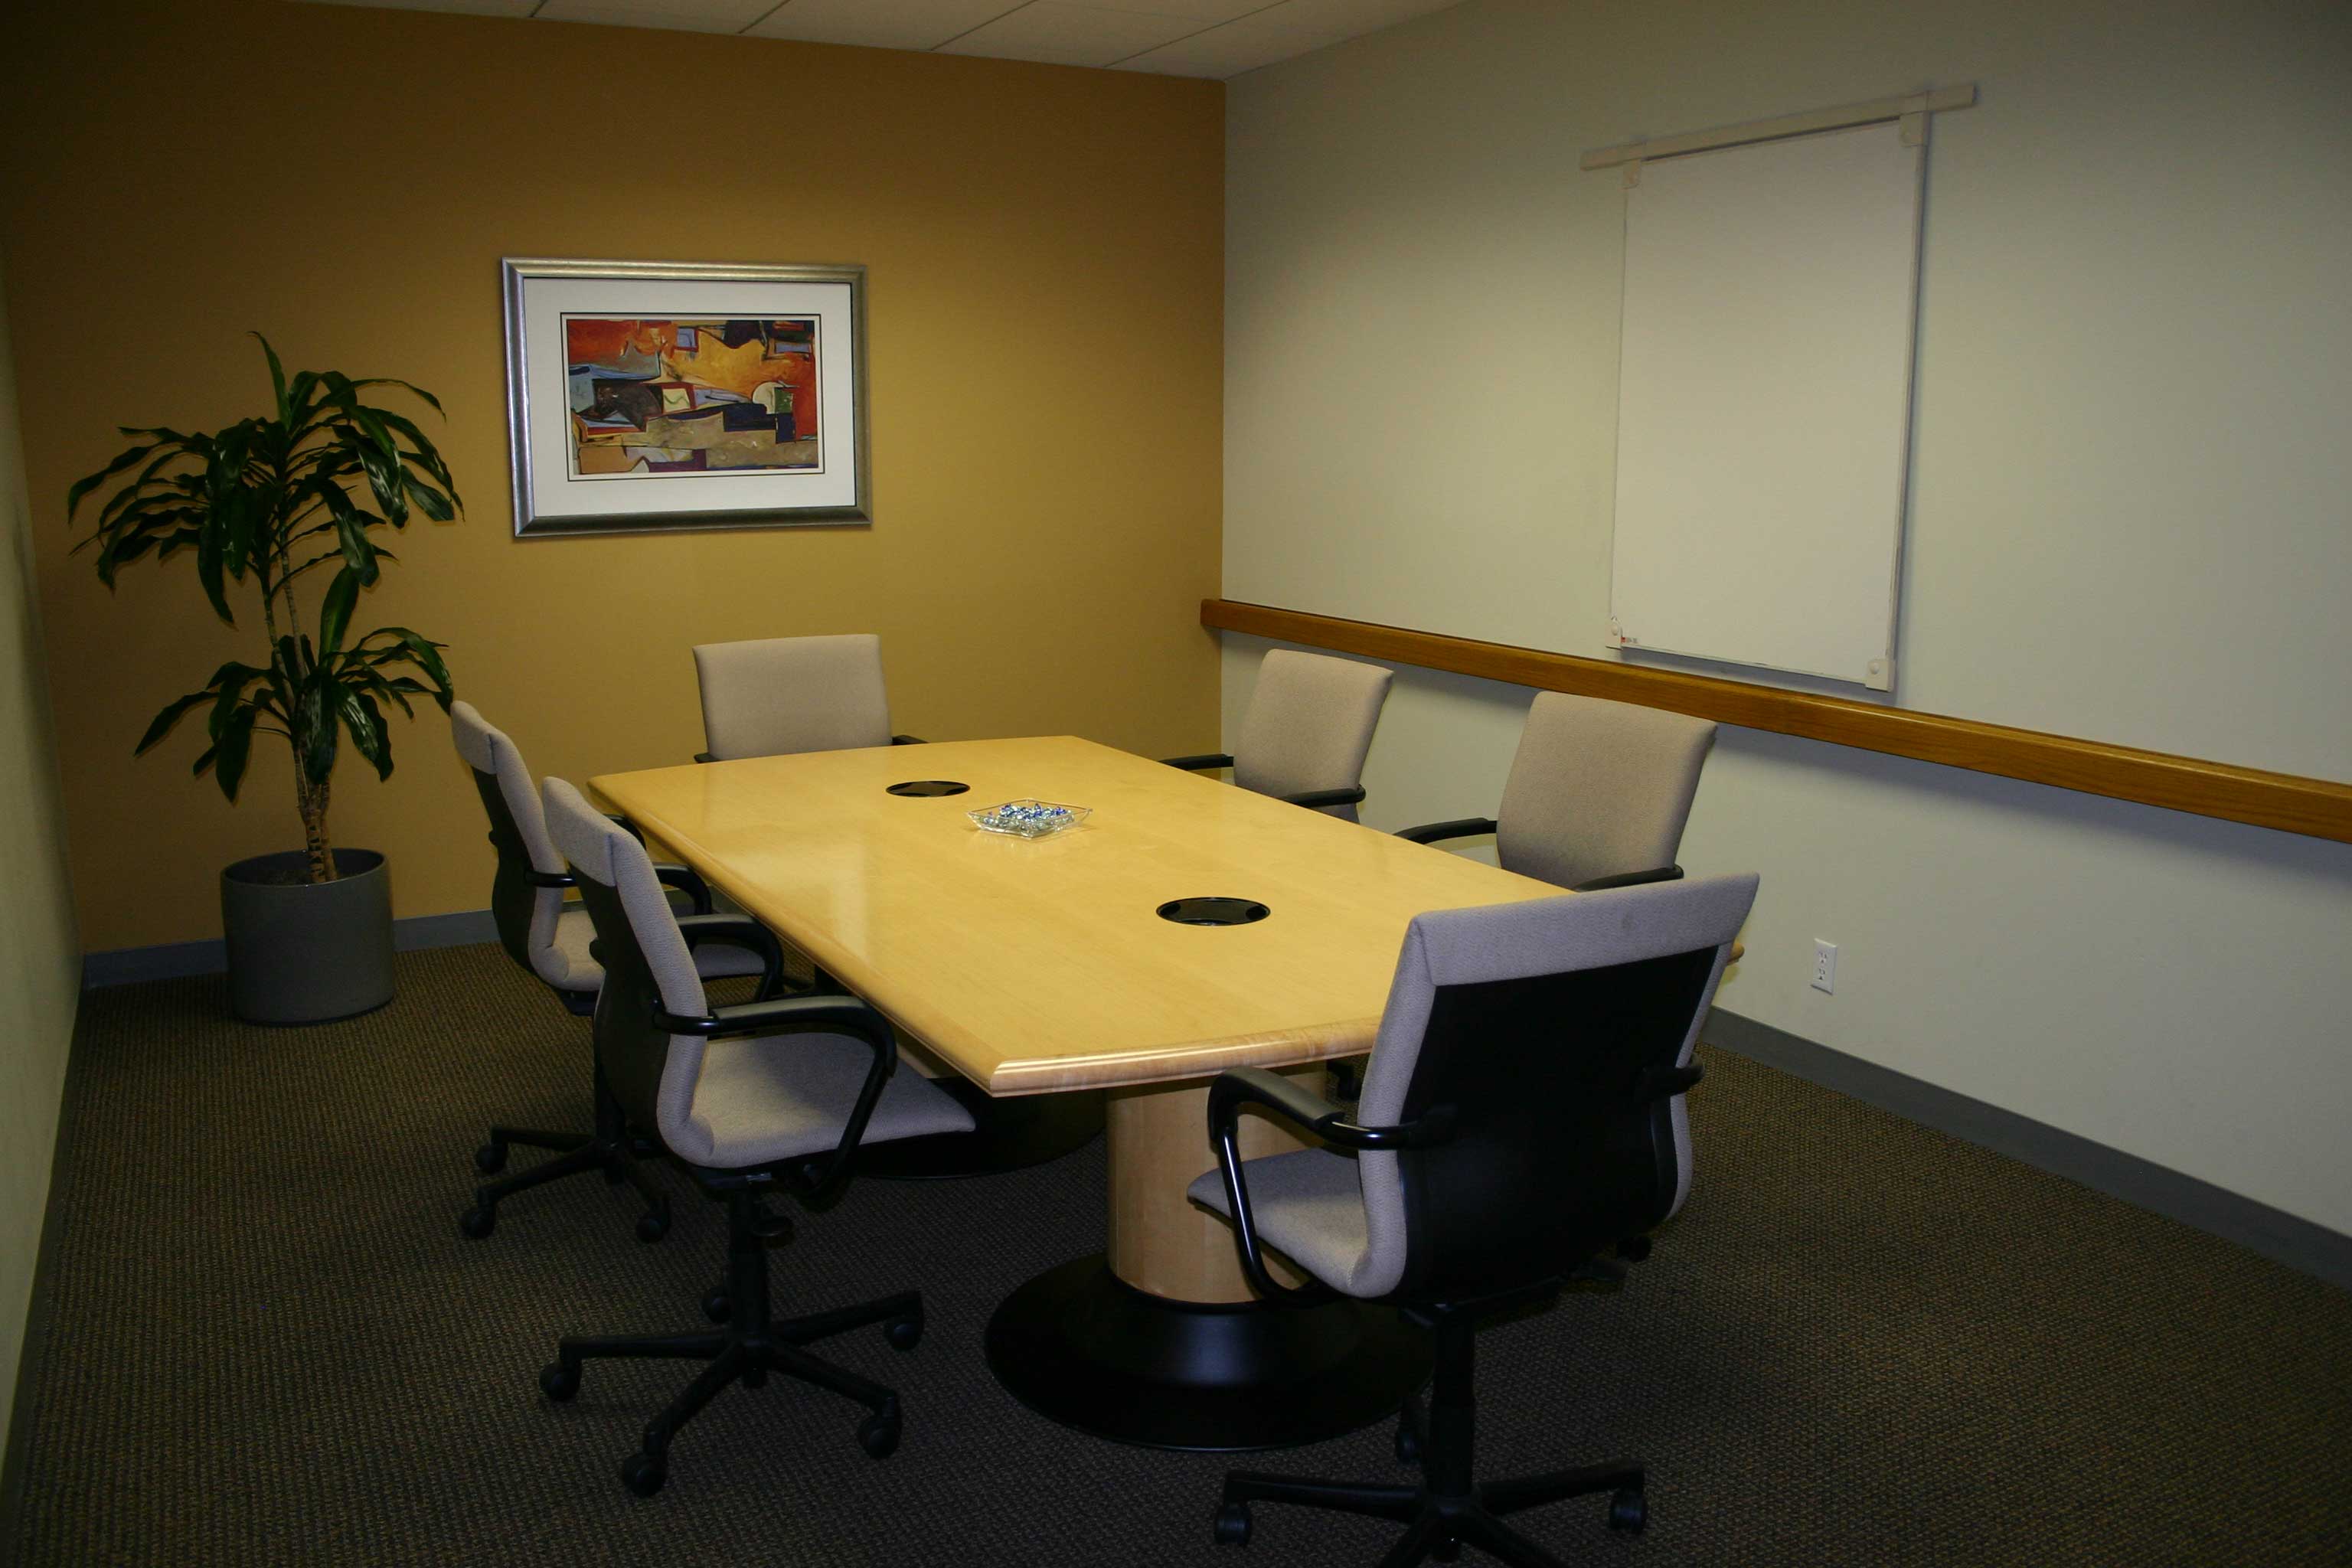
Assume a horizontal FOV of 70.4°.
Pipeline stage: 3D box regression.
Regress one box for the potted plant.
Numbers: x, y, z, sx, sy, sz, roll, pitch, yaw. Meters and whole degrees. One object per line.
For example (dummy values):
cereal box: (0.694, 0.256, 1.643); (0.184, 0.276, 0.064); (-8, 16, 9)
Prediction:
potted plant: (-3.080, -0.372, 5.811); (1.163, 2.281, 1.123); (-7, 17, -34)
